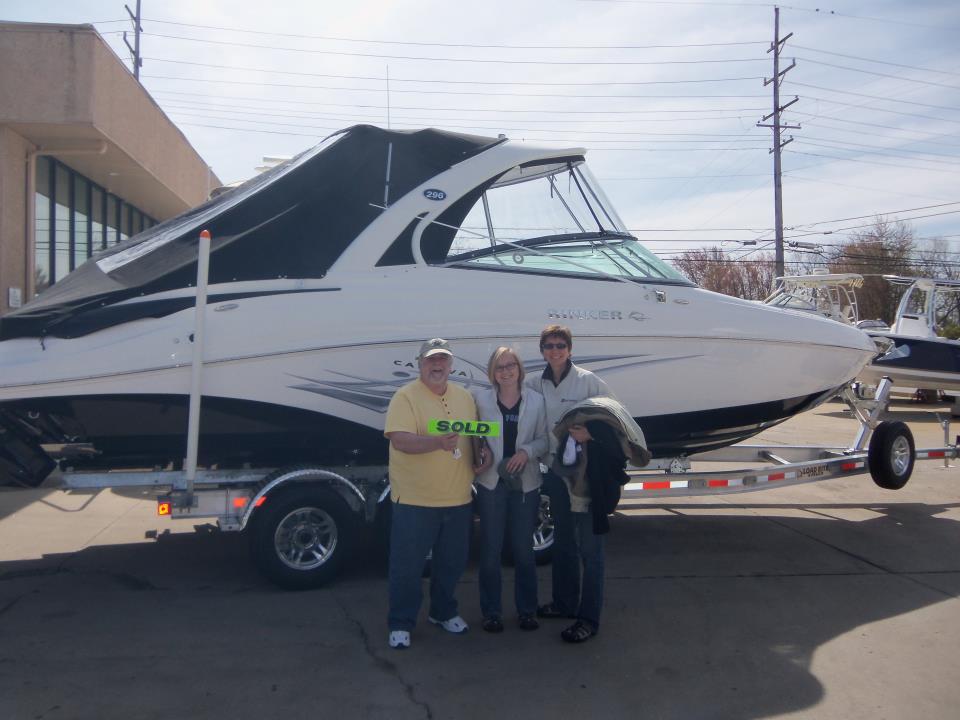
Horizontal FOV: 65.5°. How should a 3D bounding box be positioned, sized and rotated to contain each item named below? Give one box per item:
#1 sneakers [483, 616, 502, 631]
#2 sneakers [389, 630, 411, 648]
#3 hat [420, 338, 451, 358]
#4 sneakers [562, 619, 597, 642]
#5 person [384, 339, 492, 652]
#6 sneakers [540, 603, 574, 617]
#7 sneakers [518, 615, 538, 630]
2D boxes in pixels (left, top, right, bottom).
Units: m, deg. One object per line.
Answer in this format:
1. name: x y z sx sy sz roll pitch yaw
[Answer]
1. sneakers: 0.091 1.883 5.323 0.114 0.072 0.085 3 -7 -22
2. sneakers: -0.544 1.902 5.078 0.136 0.120 0.074 0 5 1
3. hat: -0.313 -0.075 5.271 0.173 0.094 0.262 1 -4 -9
4. sneakers: 0.700 1.896 5.221 0.219 0.086 0.119 5 -9 -26
5. person: -0.286 0.911 5.185 0.724 2.079 0.436 -1 5 -7
6. sneakers: 0.582 1.867 5.582 0.284 0.109 0.095 -3 -6 10
7. sneakers: 0.345 1.892 5.354 0.099 0.053 0.149 0 3 -5
